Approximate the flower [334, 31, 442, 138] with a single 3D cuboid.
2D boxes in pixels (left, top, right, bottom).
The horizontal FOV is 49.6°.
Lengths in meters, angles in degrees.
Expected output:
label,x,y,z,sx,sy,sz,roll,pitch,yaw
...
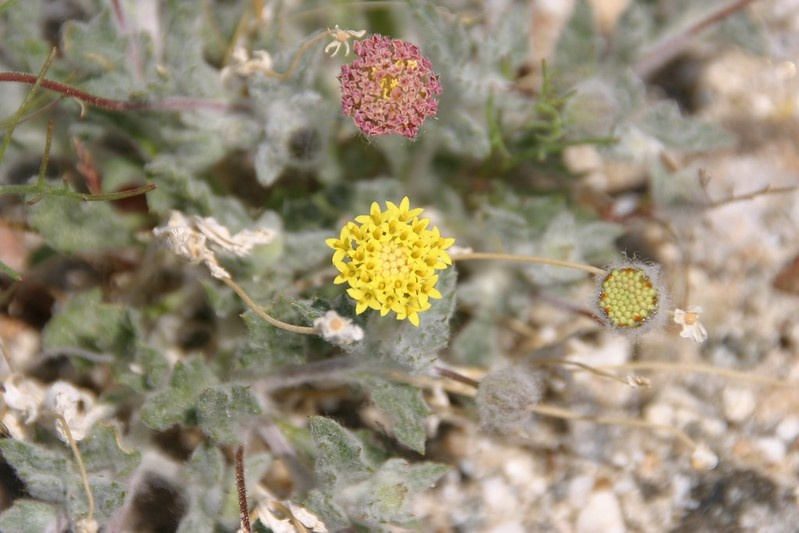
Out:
label,x,y,z,sx,sy,sz,roll,pitch,yaw
flower,-0.041,-0.583,2.857,0.313,0.183,0.336,-41,86,-5
